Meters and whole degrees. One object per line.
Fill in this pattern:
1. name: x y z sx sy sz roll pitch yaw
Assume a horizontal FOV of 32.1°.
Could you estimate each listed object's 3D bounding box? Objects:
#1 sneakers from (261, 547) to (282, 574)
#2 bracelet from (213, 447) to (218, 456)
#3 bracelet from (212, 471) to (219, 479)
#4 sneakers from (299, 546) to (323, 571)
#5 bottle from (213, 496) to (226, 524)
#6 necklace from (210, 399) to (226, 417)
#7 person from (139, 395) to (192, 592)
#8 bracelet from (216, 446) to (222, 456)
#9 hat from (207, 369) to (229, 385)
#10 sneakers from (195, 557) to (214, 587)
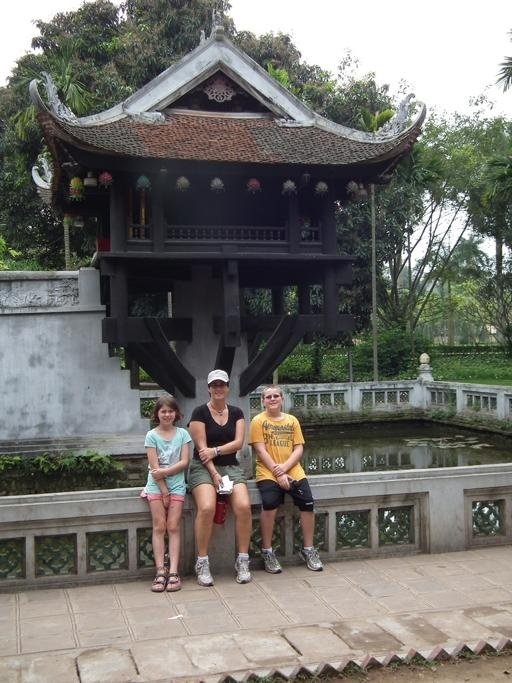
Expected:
1. sneakers: 0.116 1.646 6.663 0.120 0.170 0.201 -1 14 -14
2. bracelet: -0.303 0.832 6.744 0.034 0.052 0.047 1 -6 -8
3. bracelet: -0.297 1.001 6.614 0.051 0.043 0.091 -1 14 -13
4. sneakers: 0.419 1.638 6.729 0.140 0.171 0.247 0 13 -10
5. bottle: -0.261 1.239 6.596 0.071 0.207 0.134 6 14 18
6. necklace: -0.306 0.515 6.938 0.095 0.130 0.047 -3 0 -9
7. person: -0.665 1.086 6.535 0.347 1.162 0.951 1 13 -4
8. bracelet: -0.286 0.839 6.752 0.039 0.057 0.053 2 9 0
9. hat: -0.301 0.270 6.916 0.105 0.086 0.157 -2 -10 -2
10. sneakers: -0.376 1.667 6.401 0.084 0.103 0.234 0 0 -15
